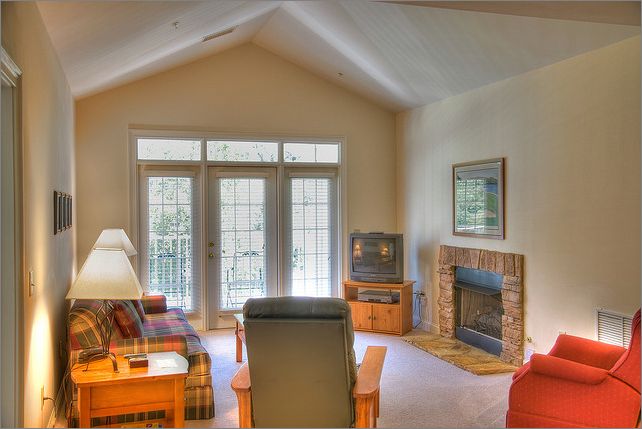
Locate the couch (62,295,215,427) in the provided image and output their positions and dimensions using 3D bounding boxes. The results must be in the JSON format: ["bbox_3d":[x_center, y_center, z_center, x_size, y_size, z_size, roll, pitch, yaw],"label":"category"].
[{"bbox_3d":[-1.758,1.223,4.635,1.103,0.917,2.021,-1,1,-18],"label":"couch"}]

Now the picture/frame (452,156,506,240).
[{"bbox_3d":[1.958,-0.206,5.796,0.151,0.996,0.878,-4,9,-24],"label":"picture/frame"}]

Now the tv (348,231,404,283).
[{"bbox_3d":[0.831,0.600,6.751,0.776,0.716,0.436,0,3,22],"label":"tv"}]

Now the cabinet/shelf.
[{"bbox_3d":[0.851,1.340,6.767,0.882,0.678,0.527,-2,-2,33],"label":"cabinet/shelf"}]

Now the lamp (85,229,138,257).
[{"bbox_3d":[-2.369,0.302,5.317,0.635,0.330,0.535,0,2,-3],"label":"lamp"}]

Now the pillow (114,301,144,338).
[{"bbox_3d":[-1.942,1.056,4.666,0.189,0.332,0.504,-6,8,-12],"label":"pillow"}]

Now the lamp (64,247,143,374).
[{"bbox_3d":[-1.781,0.778,3.831,0.605,0.935,0.599,4,-7,-29],"label":"lamp"}]

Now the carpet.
[{"bbox_3d":[1.685,1.710,5.744,0.609,0.099,1.452,-4,9,-27],"label":"carpet"}]
